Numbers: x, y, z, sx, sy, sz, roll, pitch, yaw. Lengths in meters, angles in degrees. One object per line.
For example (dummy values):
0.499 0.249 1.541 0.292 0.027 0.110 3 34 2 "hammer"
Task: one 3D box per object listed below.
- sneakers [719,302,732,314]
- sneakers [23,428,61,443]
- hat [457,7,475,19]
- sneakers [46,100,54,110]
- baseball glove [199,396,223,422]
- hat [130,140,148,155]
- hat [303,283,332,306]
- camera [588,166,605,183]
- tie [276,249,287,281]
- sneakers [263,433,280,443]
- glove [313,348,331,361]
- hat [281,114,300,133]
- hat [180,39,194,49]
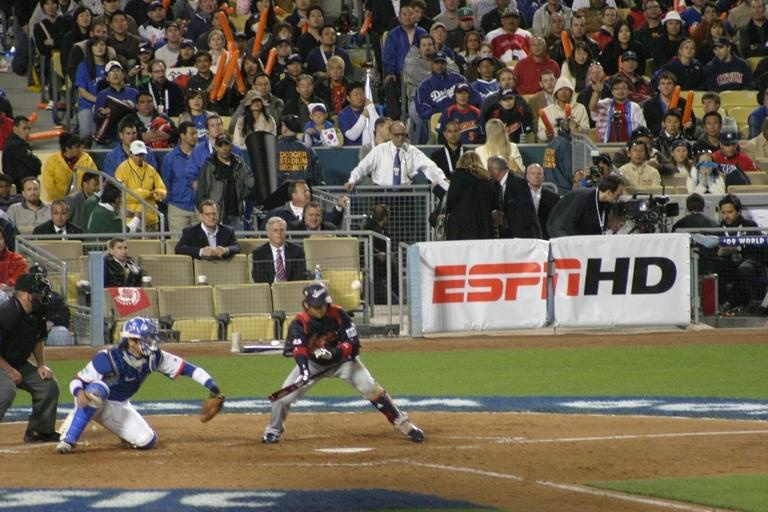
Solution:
7.122 1.133 35.548 0.197 0.151 0.279 1 8 -8 "sneakers"
-5.989 3.217 30.099 0.668 0.299 0.231 -1 5 -5 "sneakers"
2.025 -5.927 41.307 0.306 0.240 0.429 1 9 -5 "hat"
-7.847 -3.581 40.294 0.214 0.305 0.225 1 1 -6 "sneakers"
-2.907 2.670 29.094 0.504 0.306 0.150 -39 -16 5 "baseball glove"
-5.201 -2.290 36.155 0.256 0.197 0.346 -6 14 -29 "hat"
-1.185 0.700 29.194 0.344 0.250 0.441 -18 23 -30 "hat"
4.483 -1.688 35.866 0.292 0.324 0.328 1 4 17 "camera"
-2.096 0.212 35.028 0.230 0.639 0.038 0 0 -8 "tie"
-1.947 3.240 29.588 0.322 0.151 0.129 8 13 -21 "sneakers"
-1.034 1.724 29.134 0.171 0.095 0.229 17 -8 -38 "glove"
-1.975 -2.877 36.956 0.331 0.386 0.408 -7 40 -17 "hat"
-4.554 -4.959 39.644 0.289 0.224 0.482 4 -9 -5 "hat"
